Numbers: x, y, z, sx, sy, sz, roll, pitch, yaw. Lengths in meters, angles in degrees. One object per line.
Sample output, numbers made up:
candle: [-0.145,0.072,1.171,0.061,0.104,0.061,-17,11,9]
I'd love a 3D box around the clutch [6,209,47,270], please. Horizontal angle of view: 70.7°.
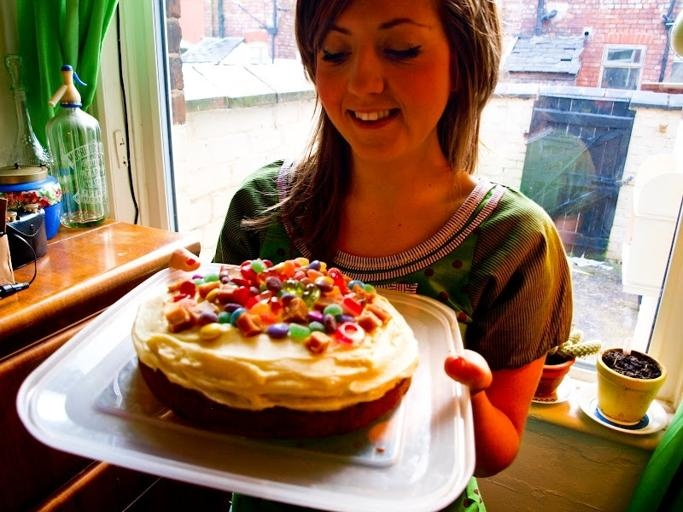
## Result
clutch: [-1.008,-0.053,1.529,0.059,0.142,0.146,4,23,7]

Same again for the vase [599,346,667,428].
vase: [1.016,0.480,1.723,0.202,0.257,0.175,13,22,34]

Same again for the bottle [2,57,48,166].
bottle: [-1.178,-0.528,1.756,0.135,0.402,0.297,-10,21,-30]

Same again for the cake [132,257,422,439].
cake: [-0.151,0.192,1.051,0.467,0.175,0.388,4,28,2]
